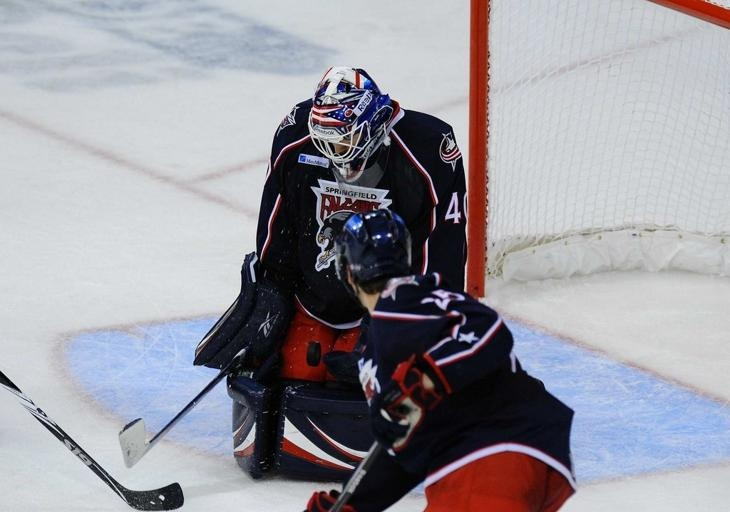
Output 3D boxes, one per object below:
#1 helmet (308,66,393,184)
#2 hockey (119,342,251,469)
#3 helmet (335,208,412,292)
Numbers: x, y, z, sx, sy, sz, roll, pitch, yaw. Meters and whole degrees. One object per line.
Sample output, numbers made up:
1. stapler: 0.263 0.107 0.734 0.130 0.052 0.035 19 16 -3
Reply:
1. helmet: -0.056 -0.567 4.046 0.391 0.432 0.444 3 41 20
2. hockey: -0.868 0.699 4.170 0.147 0.540 0.547 46 -13 0
3. helmet: -0.005 -0.038 3.429 0.242 0.301 0.294 -3 28 -8
